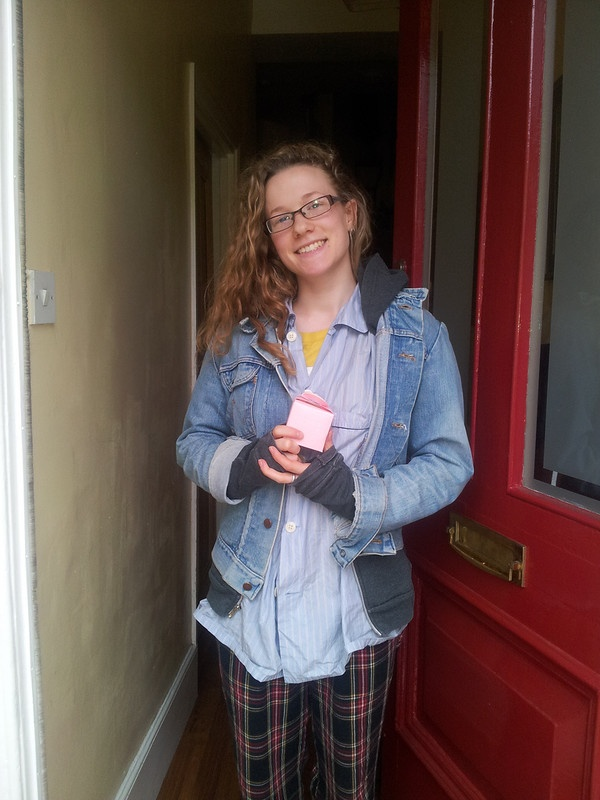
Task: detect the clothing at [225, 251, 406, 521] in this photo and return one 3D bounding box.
[{"bbox_3d":[0.035,-0.036,1.160,0.232,0.431,0.331,5,11,26],"label":"clothing"}]

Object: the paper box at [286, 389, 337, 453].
[{"bbox_3d":[0.018,0.037,1.066,0.067,0.115,0.077,22,-4,-3],"label":"paper box"}]

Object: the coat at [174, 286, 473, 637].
[{"bbox_3d":[0.046,0.073,1.188,0.509,0.702,0.328,7,-6,27],"label":"coat"}]
